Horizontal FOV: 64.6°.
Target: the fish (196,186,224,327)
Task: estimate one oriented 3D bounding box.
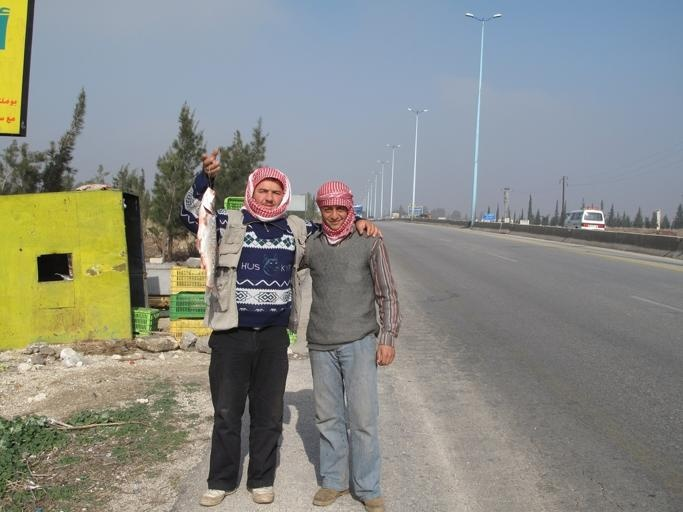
[{"bbox_3d":[-1.158,-0.019,4.704,0.177,1.179,0.366,-1,8,-16],"label":"fish"}]

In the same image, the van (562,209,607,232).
[{"bbox_3d":[15.490,-2.352,34.165,1.900,1.305,4.886,6,9,22],"label":"van"}]

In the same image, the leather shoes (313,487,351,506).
[{"bbox_3d":[-0.076,2.069,4.664,0.286,0.128,0.116,9,-6,-34],"label":"leather shoes"}]

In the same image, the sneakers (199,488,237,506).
[{"bbox_3d":[-1.086,2.065,4.640,0.090,0.104,0.247,5,-14,26],"label":"sneakers"}]

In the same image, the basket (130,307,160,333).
[{"bbox_3d":[-3.463,1.150,9.494,0.323,0.354,0.455,0,-5,-1],"label":"basket"}]
